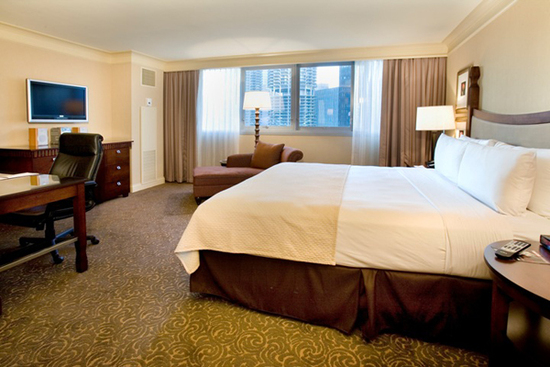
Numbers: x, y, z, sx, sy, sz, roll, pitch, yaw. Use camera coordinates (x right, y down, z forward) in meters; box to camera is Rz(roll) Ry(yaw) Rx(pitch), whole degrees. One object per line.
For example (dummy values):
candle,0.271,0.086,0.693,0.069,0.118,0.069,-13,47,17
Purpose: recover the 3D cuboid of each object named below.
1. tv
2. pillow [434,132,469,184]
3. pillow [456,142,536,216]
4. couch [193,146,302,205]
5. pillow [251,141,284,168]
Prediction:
tv,-3.386,-1.276,5.527,0.097,0.627,0.991,10,12,21
pillow,1.850,-0.248,3.713,0.143,0.367,0.620,12,16,8
pillow,1.777,-0.017,2.842,0.220,0.354,0.598,-9,9,-3
couch,-0.466,-0.178,6.022,1.707,0.938,0.985,0,6,-8
pillow,-0.139,-0.489,6.081,0.624,0.465,0.242,10,-5,44
